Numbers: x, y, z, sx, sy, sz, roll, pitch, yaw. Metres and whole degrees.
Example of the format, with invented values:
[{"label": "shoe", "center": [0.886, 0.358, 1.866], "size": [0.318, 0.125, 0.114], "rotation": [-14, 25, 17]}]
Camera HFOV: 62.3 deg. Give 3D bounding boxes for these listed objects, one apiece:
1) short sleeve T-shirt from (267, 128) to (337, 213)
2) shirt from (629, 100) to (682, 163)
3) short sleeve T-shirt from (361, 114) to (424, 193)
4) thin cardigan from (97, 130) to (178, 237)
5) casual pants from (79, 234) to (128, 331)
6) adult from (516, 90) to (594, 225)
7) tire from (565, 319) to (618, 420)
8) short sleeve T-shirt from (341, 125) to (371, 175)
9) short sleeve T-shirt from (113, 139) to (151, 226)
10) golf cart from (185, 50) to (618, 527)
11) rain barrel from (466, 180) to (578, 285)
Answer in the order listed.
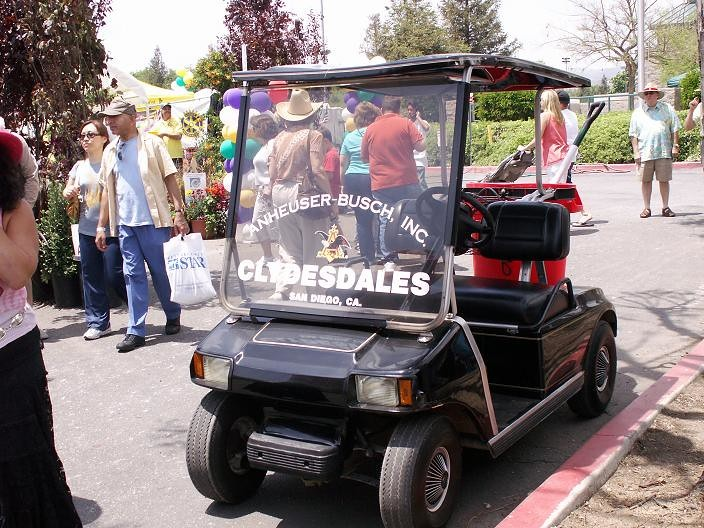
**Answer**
[{"label": "short sleeve T-shirt", "center": [-0.301, -0.520, 3.165], "size": [0.395, 0.431, 0.185], "rotation": [2, 7, 22]}, {"label": "shirt", "center": [5.756, -2.511, 11.077], "size": [0.783, 1.077, 0.574], "rotation": [4, 15, 30]}, {"label": "short sleeve T-shirt", "center": [0.212, -0.577, 3.067], "size": [0.324, 0.391, 0.217], "rotation": [-6, -4, 11]}, {"label": "thin cardigan", "center": [-2.199, -0.966, 6.071], "size": [0.665, 0.861, 0.422], "rotation": [8, 10, 5]}, {"label": "casual pants", "center": [-2.881, 0.205, 6.550], "size": [0.351, 1.124, 0.464], "rotation": [-6, 17, -42]}, {"label": "adult", "center": [3.326, -1.685, 9.720], "size": [0.906, 2.308, 0.728], "rotation": [-9, -6, 17]}, {"label": "tire", "center": [1.660, 0.740, 4.059], "size": [0.170, 0.502, 0.537], "rotation": [4, 36, 29]}, {"label": "short sleeve T-shirt", "center": [0.026, -0.584, 3.015], "size": [0.225, 0.274, 0.151], "rotation": [1, 7, 13]}, {"label": "short sleeve T-shirt", "center": [-2.257, -0.831, 5.947], "size": [0.300, 0.881, 0.328], "rotation": [-9, 14, -24]}, {"label": "golf cart", "center": [0.381, 0.025, 4.389], "size": [1.837, 2.753, 3.633], "rotation": [0, 4, 33]}, {"label": "rain barrel", "center": [1.677, -0.379, 5.919], "size": [1.198, 1.061, 1.375], "rotation": [-1, 0, -7]}]
